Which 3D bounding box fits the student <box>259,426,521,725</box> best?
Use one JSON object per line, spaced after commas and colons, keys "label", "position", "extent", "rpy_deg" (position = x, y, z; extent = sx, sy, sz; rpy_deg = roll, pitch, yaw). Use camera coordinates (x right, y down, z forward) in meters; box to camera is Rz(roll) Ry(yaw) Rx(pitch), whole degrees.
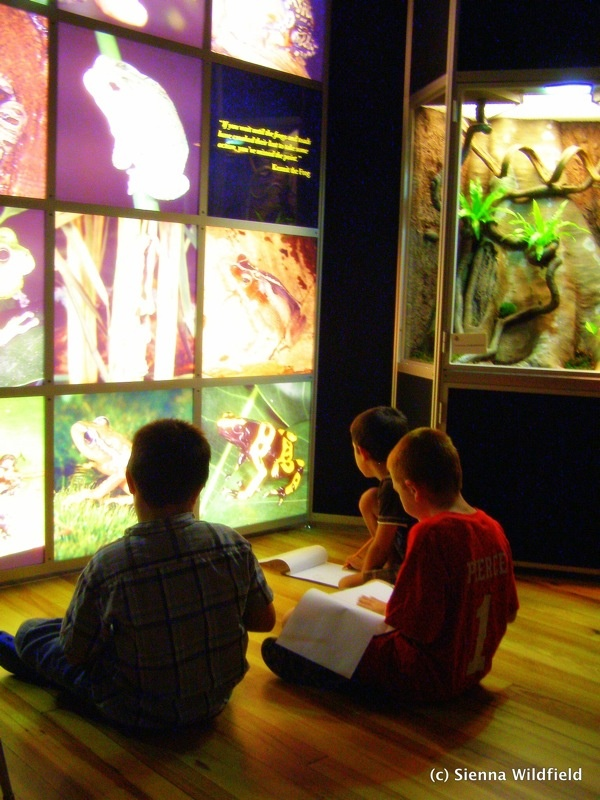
{"label": "student", "position": [0.241, 0.385, 1.677], "extent": [0.554, 0.776, 0.319], "rpy_deg": [0, 1, -26]}
